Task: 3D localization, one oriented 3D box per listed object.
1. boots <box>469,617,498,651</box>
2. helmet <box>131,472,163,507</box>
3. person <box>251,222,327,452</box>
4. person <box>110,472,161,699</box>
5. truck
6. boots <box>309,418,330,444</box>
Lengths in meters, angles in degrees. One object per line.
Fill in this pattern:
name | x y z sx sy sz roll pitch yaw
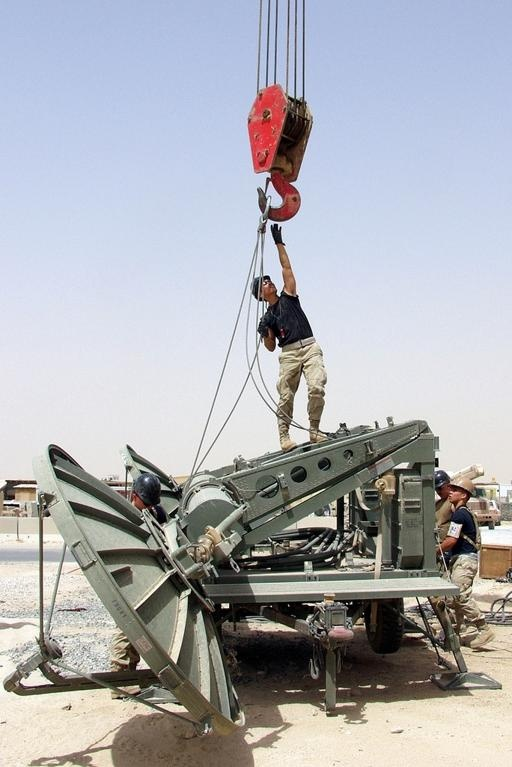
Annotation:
boots | 2.544 2.794 7.690 0.258 0.326 0.788 -3 -10 17
helmet | -0.968 0.877 5.864 0.150 0.288 0.218 -44 -12 32
person | 0.319 -0.499 7.704 0.846 2.455 0.736 -5 -11 27
person | -1.068 1.680 5.826 0.453 1.876 1.032 2 -10 -8
truck | 0.666 1.847 6.333 2.018 0.638 1.762 0 -4 0
boots | 0.658 0.510 7.526 0.213 0.279 0.324 -1 -9 4
